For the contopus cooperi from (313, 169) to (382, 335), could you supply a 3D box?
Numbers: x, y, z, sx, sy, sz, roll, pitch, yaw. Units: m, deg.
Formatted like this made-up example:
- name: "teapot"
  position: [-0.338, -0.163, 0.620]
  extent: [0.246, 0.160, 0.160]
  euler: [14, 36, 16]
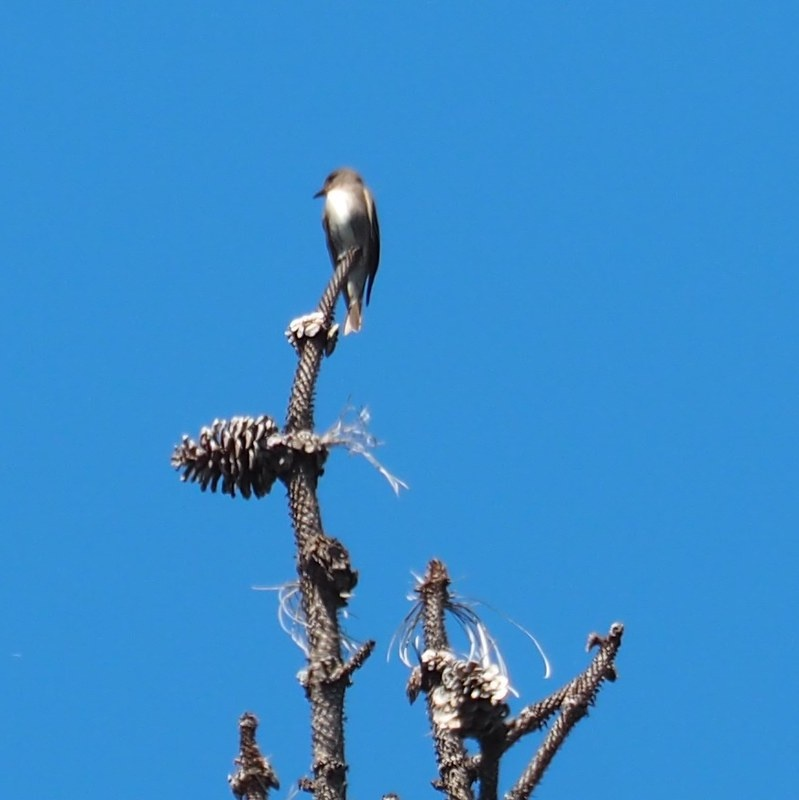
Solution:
- name: "contopus cooperi"
  position: [-0.348, -0.970, 17.436]
  extent: [0.323, 1.559, 0.546]
  euler: [-2, 8, 9]
